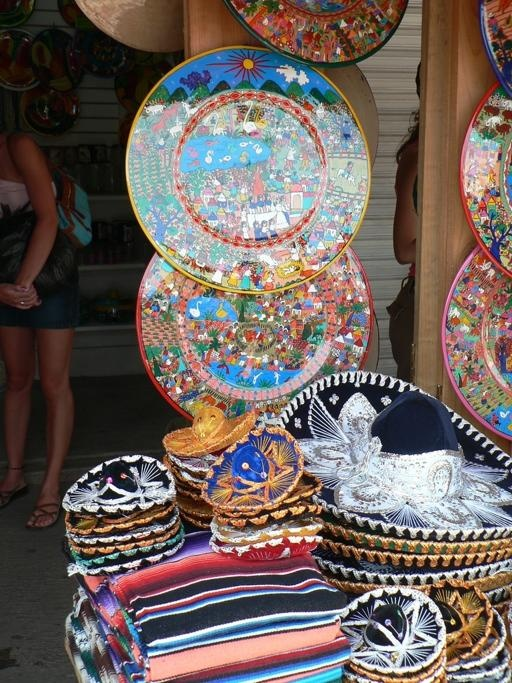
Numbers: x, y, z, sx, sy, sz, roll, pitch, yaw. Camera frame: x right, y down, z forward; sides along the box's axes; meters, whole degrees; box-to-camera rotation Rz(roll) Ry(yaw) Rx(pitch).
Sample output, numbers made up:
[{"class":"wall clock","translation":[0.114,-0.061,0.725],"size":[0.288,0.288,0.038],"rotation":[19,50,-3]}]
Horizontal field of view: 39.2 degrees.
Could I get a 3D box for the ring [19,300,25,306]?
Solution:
[{"class":"ring","translation":[-0.808,-0.131,2.470],"size":[0.018,0.015,0.006],"rotation":[-3,15,-12]}]
